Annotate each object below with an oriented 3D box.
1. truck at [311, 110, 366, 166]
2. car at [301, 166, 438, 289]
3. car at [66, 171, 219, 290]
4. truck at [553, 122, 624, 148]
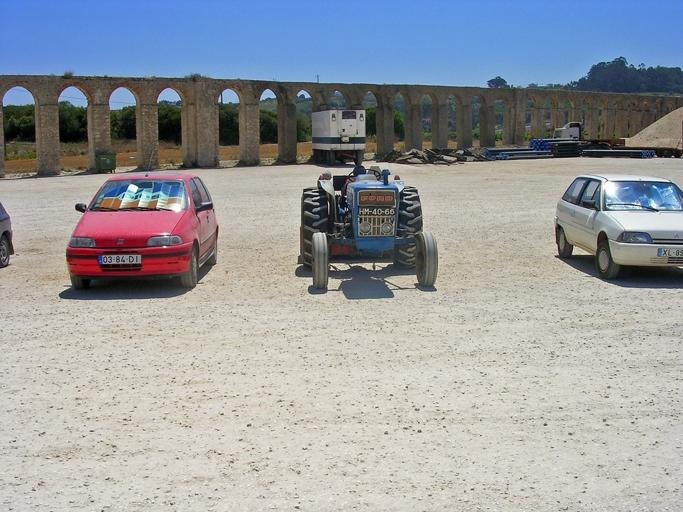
[{"bbox_3d":[-0.271,-7.890,47.899,2.447,3.350,4.516,-3,9,-18],"label":"truck"},{"bbox_3d":[0.355,-0.525,12.010,2.097,1.885,2.850,-1,15,-4],"label":"car"},{"bbox_3d":[-3.064,-0.510,11.737,1.524,1.180,2.431,-1,3,-2],"label":"car"},{"bbox_3d":[20.336,-10.738,61.817,5.064,1.830,9.500,1,16,4],"label":"truck"}]
